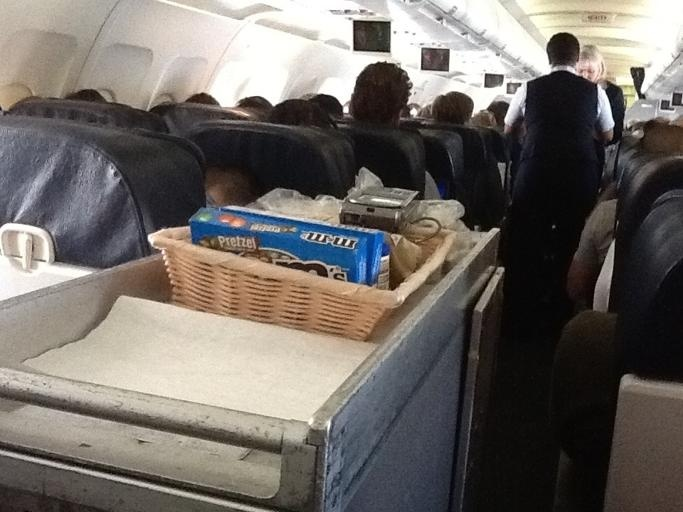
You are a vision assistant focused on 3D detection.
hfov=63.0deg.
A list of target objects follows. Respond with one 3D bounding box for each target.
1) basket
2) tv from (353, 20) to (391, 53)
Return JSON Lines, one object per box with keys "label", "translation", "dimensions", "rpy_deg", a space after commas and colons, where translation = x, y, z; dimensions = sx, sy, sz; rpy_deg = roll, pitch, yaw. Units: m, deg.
{"label": "basket", "translation": [-0.141, 0.073, 1.108], "dimensions": [0.346, 0.104, 0.331], "rpy_deg": [9, 0, 2]}
{"label": "tv", "translation": [0.290, -2.155, 5.445], "dimensions": [0.343, 0.320, 0.085], "rpy_deg": [6, 17, 16]}
